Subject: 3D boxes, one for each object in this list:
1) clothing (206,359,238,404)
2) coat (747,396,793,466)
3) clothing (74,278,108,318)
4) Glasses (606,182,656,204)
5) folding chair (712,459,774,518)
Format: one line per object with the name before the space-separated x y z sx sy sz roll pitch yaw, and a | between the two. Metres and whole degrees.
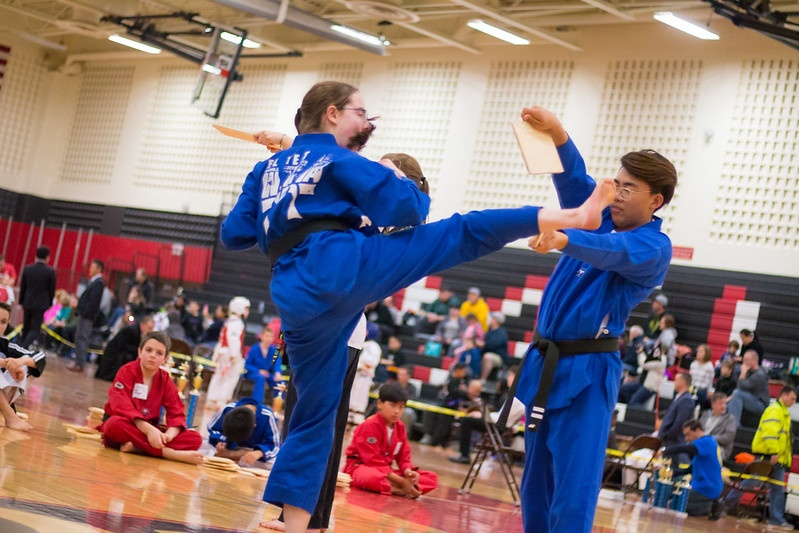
clothing | -2.930 1.951 10.382 0.482 0.765 0.290 11 -1 -3
coat | 5.154 2.310 8.614 0.607 0.960 1.010 3 -5 28
clothing | -6.798 0.728 13.732 0.510 0.877 0.859 13 -12 -16
Glasses | 1.073 -0.355 2.947 0.162 0.047 0.151 8 2 -30
folding chair | 4.733 2.997 8.449 0.432 0.708 0.546 18 -14 -10
